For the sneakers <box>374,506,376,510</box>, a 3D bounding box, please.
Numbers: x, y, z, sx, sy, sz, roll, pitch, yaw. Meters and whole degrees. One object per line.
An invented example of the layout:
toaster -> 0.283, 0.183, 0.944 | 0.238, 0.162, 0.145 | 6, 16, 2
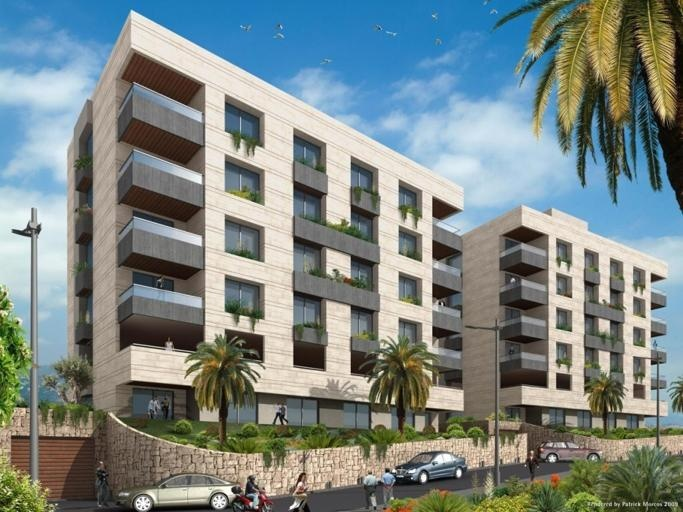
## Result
sneakers -> 1.915, 14.259, 55.822 | 0.131, 0.138, 0.068 | 6, -11, -38
